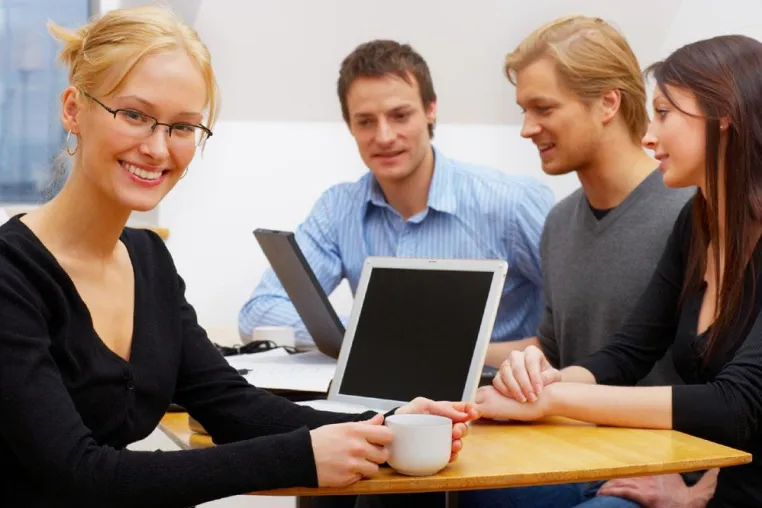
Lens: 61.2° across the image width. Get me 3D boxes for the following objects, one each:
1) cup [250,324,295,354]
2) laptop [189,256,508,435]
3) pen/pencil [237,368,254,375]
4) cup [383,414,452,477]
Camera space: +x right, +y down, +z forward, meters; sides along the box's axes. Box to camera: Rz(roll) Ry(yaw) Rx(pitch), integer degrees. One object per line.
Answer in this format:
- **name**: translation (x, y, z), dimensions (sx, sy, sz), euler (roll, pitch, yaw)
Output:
- **cup**: translation (-0.407, 0.315, 2.393), dimensions (0.109, 0.061, 0.105), euler (0, 2, 0)
- **laptop**: translation (0.042, 0.153, 1.562), dimensions (0.435, 0.286, 0.439), euler (2, 3, 38)
- **pen/pencil**: translation (-0.391, 0.336, 1.850), dimensions (0.018, 0.017, 0.071), euler (-7, -10, 29)
- **cup**: translation (0.073, 0.384, 1.302), dimensions (0.124, 0.109, 0.109), euler (14, 17, 42)
